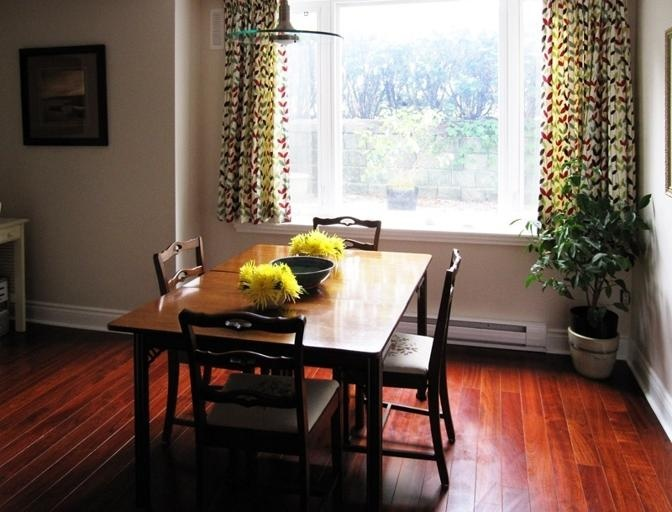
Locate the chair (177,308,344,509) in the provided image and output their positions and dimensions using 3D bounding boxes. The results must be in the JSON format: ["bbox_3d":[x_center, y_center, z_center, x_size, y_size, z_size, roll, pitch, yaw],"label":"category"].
[{"bbox_3d":[-0.359,0.680,2.452,0.685,1.078,0.633,7,15,25],"label":"chair"}]

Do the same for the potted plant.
[{"bbox_3d":[1.839,-0.045,4.427,1.143,2.294,1.267,-1,9,20],"label":"potted plant"}]

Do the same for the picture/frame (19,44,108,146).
[{"bbox_3d":[-2.223,-1.363,4.382,0.694,0.834,0.056,3,12,13],"label":"picture/frame"}]

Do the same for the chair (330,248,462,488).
[{"bbox_3d":[0.352,0.443,3.467,0.906,1.894,0.945,3,9,11],"label":"chair"}]

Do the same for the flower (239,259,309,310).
[{"bbox_3d":[-0.323,0.136,2.631,0.219,0.180,0.241,7,-1,3],"label":"flower"}]

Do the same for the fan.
[{"bbox_3d":[-0.391,-1.735,3.942,0.730,0.355,0.799,-3,11,-10],"label":"fan"}]
